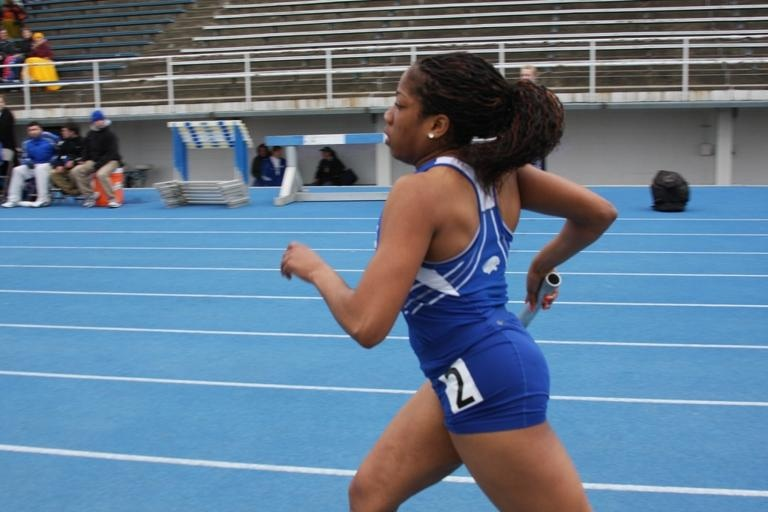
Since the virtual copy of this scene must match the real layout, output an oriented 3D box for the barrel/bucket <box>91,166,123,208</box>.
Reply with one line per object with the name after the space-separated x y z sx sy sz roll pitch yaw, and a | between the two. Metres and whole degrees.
-5.300 -1.329 17.737 0.811 0.727 0.733 -1 6 -5 | barrel/bucket
